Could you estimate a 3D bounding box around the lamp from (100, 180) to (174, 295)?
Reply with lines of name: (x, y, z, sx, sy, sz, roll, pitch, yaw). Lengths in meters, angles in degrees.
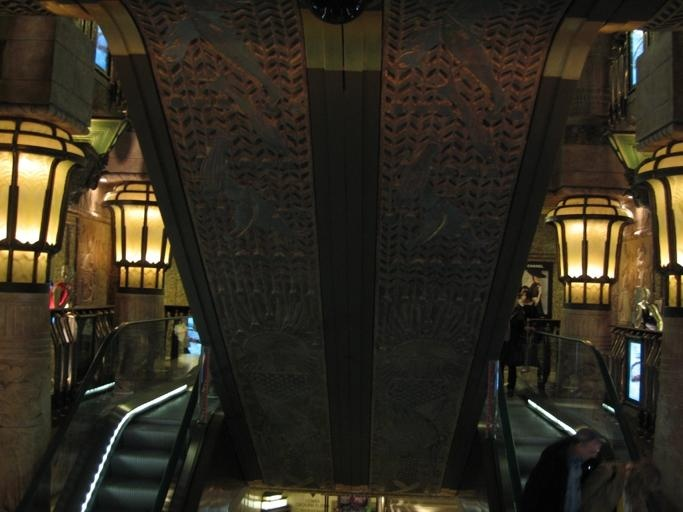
lamp: (-3.374, -0.346, 9.945, 1.050, 1.889, 0.403, 1, -4, 8)
